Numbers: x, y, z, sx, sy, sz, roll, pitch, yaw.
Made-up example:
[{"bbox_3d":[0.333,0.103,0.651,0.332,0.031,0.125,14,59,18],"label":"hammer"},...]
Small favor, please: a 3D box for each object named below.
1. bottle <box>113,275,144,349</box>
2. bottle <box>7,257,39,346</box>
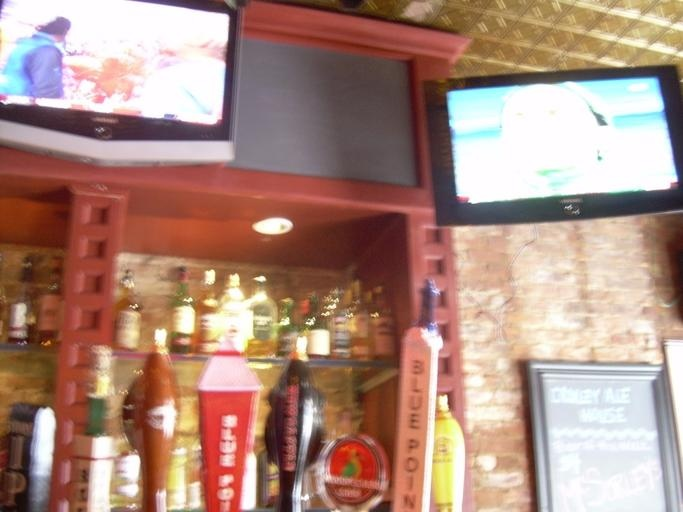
[{"bbox_3d":[-0.856,0.215,2.355,0.100,0.335,0.299,4,-14,-19],"label":"bottle"},{"bbox_3d":[-1.266,0.162,2.324,0.090,0.368,0.153,7,-15,-30],"label":"bottle"}]
